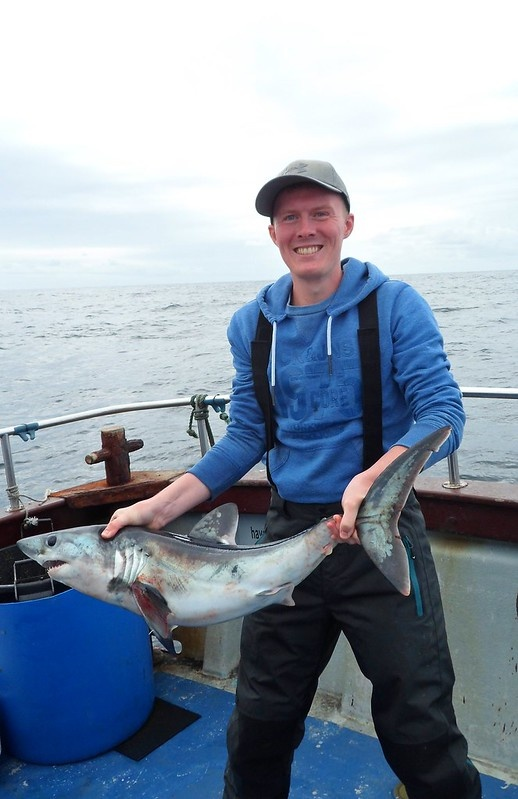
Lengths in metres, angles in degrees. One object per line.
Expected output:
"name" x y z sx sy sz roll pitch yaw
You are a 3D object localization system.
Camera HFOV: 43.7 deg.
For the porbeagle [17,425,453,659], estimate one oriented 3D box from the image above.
"porbeagle" -0.165 0.414 1.822 1.479 0.634 0.459 0 -33 9
